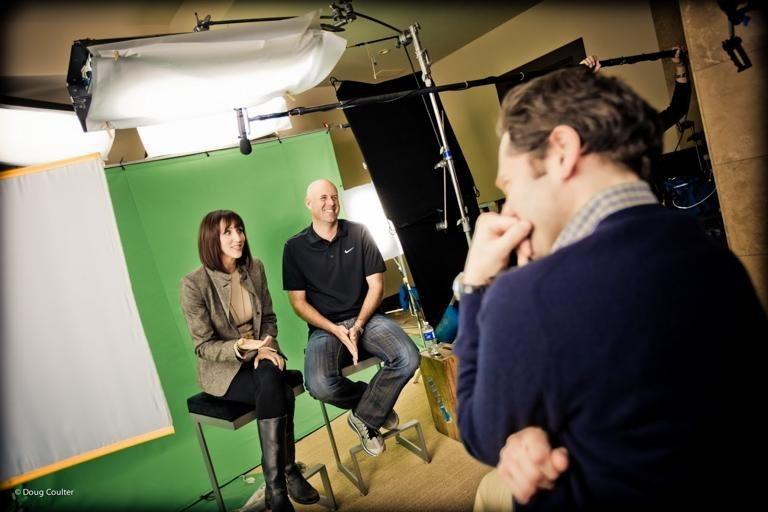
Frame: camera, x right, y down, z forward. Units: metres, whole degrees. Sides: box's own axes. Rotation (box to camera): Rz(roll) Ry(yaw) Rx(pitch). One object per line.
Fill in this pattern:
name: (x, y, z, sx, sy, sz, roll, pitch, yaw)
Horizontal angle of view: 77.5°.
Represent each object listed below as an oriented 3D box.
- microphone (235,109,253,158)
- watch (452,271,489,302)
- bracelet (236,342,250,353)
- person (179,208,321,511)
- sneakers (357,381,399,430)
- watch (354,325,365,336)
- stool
microphone: (-0.905, -0.783, 3.100, 0.077, 0.298, 0.362, -11, 1, -14)
watch: (0.287, 0.100, 1.656, 0.122, 0.095, 0.071, -5, -8, 28)
bracelet: (-0.894, 0.570, 3.044, 0.049, 0.068, 0.057, -10, 1, 37)
person: (-0.901, 0.656, 3.132, 0.641, 2.083, 0.956, -11, 1, -20)
sneakers: (-0.043, 1.044, 3.322, 0.222, 0.495, 0.172, -6, -1, 13)
watch: (-0.172, 0.528, 3.440, 0.058, 0.039, 0.075, 1, 1, 21)
stool: (-0.540, 1.168, 3.238, 1.169, 0.748, 0.396, -11, -3, -35)
